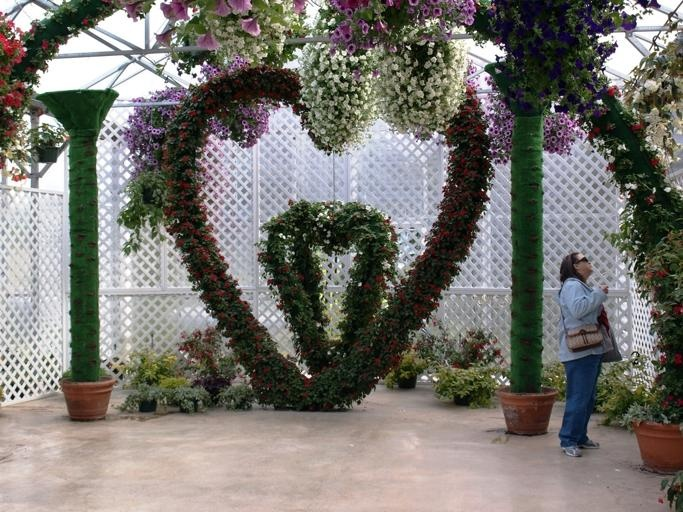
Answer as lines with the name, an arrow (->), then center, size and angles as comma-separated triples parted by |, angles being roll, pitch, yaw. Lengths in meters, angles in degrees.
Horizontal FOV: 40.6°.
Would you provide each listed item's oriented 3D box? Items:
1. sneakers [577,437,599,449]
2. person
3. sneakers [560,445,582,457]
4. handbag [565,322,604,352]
sneakers -> 2.043, 1.538, 7.627 | 0.153, 0.056, 0.075 | -3, -4, 8
person -> 2.013, 0.786, 7.461 | 0.482, 1.589, 0.473 | 1, 7, 15
sneakers -> 1.860, 1.562, 7.433 | 0.069, 0.062, 0.163 | -1, -1, -27
handbag -> 1.934, 0.638, 7.306 | 0.221, 0.143, 0.080 | -9, -16, 6
